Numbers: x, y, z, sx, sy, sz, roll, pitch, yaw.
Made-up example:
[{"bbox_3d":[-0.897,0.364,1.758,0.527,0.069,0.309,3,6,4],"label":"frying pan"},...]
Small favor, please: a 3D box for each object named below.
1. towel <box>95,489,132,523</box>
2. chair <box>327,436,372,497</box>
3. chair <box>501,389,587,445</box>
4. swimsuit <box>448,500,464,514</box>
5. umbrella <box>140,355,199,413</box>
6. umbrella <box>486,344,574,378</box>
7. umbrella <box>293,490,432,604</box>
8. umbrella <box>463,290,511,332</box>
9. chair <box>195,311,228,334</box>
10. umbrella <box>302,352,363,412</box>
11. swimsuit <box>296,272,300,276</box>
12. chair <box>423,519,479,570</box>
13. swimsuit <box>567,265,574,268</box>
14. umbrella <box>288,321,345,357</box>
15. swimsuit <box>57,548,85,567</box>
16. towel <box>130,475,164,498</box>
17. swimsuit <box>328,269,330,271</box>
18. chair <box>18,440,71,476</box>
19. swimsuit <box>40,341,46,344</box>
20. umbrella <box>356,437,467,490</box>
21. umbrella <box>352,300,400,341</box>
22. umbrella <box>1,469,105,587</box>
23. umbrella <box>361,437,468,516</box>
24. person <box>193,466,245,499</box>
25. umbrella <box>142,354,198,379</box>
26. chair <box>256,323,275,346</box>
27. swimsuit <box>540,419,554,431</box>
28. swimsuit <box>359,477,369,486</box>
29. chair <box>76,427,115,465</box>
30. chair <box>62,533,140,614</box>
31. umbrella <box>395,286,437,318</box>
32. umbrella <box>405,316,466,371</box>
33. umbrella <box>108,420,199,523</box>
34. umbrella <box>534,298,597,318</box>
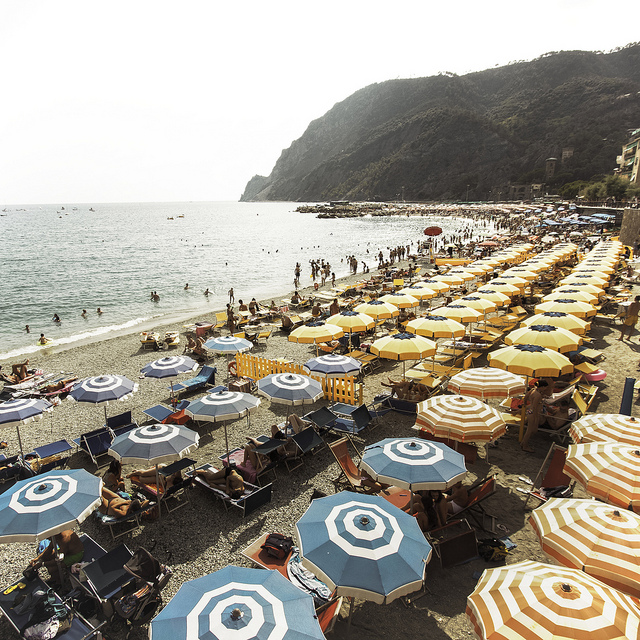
[{"bbox_3d":[-3.461,3.170,8.706,0.452,0.529,0.242,24,1,33],"label":"towel"},{"bbox_3d":[0.684,2.693,9.364,1.133,0.672,0.577,19,19,34],"label":"chair"},{"bbox_3d":[4.639,2.050,10.712,2.120,1.051,0.843,6,27,20],"label":"chair"},{"bbox_3d":[2.230,3.114,8.483,0.202,0.066,0.180,7,27,-42],"label":"swimsuit"},{"bbox_3d":[-3.858,1.699,13.217,1.164,1.066,1.191,16,25,41],"label":"umbrella"},{"bbox_3d":[4.158,0.833,10.335,1.056,0.320,1.025,7,17,28],"label":"umbrella"},{"bbox_3d":[0.506,2.758,6.287,1.523,0.560,1.284,9,20,37],"label":"umbrella"},{"bbox_3d":[5.527,-0.502,16.589,0.869,0.731,0.773,-7,16,-22],"label":"umbrella"},{"bbox_3d":[-4.343,0.125,21.121,1.478,0.781,0.752,10,17,33],"label":"chair"},{"bbox_3d":[0.266,1.416,12.118,1.685,1.105,1.525,1,13,-8],"label":"umbrella"},{"bbox_3d":[-1.576,-3.278,36.038,0.176,0.186,0.199,-1,26,-15],"label":"swimsuit"},{"bbox_3d":[2.012,3.325,7.931,0.638,0.377,0.633,-28,19,-6],"label":"chair"},{"bbox_3d":[14.319,-3.129,29.707,0.294,0.063,0.305,6,16,34],"label":"swimsuit"},{"bbox_3d":[-0.095,0.498,13.693,0.848,0.510,0.849,-13,18,-38],"label":"umbrella"},{"bbox_3d":[-3.610,3.484,7.519,0.309,0.176,0.360,-14,-8,-7],"label":"swimsuit"},{"bbox_3d":[-3.097,2.959,9.207,0.517,0.118,0.327,20,10,24],"label":"towel"},{"bbox_3d":[0.561,-3.442,35.022,0.153,0.238,0.134,-2,38,-4],"label":"swimsuit"},{"bbox_3d":[-5.439,2.768,10.219,0.982,0.508,0.553,24,24,36],"label":"chair"},{"bbox_3d":[-11.631,0.935,21.707,0.179,0.096,0.180,-5,0,27],"label":"swimsuit"},{"bbox_3d":[1.441,2.087,7.817,1.290,0.383,1.186,-9,21,-2],"label":"umbrella"},{"bbox_3d":[1.762,-0.021,16.028,1.300,1.223,1.214,-11,17,-22],"label":"umbrella"},{"bbox_3d":[-3.797,3.043,7.346,1.279,1.230,1.254,17,27,16],"label":"umbrella"},{"bbox_3d":[1.379,2.431,7.945,1.282,1.046,1.277,13,19,31],"label":"umbrella"},{"bbox_3d":[-1.791,2.820,9.147,0.822,0.282,0.345,13,-12,35],"label":"person"},{"bbox_3d":[-3.529,1.101,12.036,0.796,0.269,0.734,-2,18,-15],"label":"umbrella"},{"bbox_3d":[-2.150,0.551,18.849,0.551,0.694,0.548,-5,39,-17],"label":"chair"},{"bbox_3d":[4.867,2.317,11.157,0.182,0.168,0.047,-29,-3,-7],"label":"swimsuit"},{"bbox_3d":[0.766,2.886,9.183,0.068,0.116,0.097,10,-3,-9],"label":"swimsuit"},{"bbox_3d":[-4.623,2.640,10.653,0.889,0.541,0.631,26,28,30],"label":"chair"},{"bbox_3d":[-3.077,3.544,7.426,1.101,0.961,0.748,32,30,23],"label":"chair"},{"bbox_3d":[3.365,-0.748,17.921,0.813,0.693,0.716,5,22,2],"label":"umbrella"},{"bbox_3d":[2.960,0.364,13.317,0.922,0.777,0.841,-4,12,-3],"label":"umbrella"},{"bbox_3d":[-2.762,2.110,8.585,1.403,0.456,0.930,-7,16,-14],"label":"umbrella"},{"bbox_3d":[6.914,-0.362,14.491,0.894,0.288,0.906,12,17,40],"label":"umbrella"}]
